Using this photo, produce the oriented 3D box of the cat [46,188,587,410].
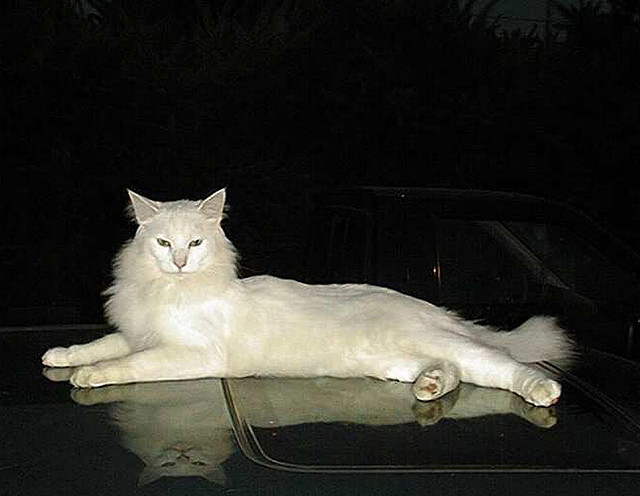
[{"bbox_3d":[0.066,0.319,3.267,1.835,1.036,0.577,4,83,-4],"label":"cat"}]
